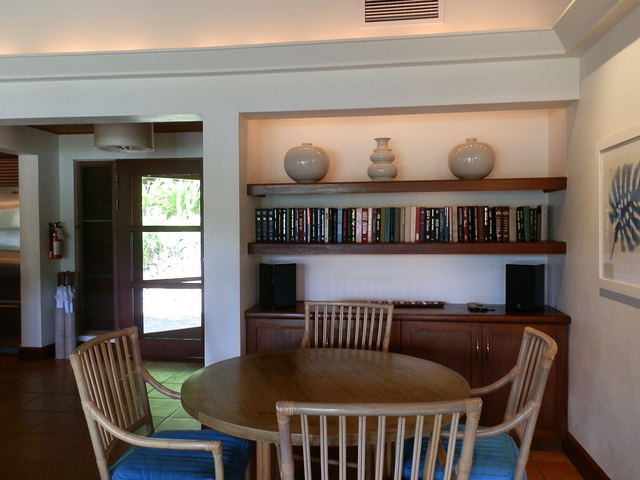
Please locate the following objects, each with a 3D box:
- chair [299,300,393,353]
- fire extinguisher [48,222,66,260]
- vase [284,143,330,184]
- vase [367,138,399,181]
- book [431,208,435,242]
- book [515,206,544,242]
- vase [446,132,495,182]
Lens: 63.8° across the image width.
[{"bbox_3d":[0.201,0.668,3.754,0.655,0.392,0.511,-1,8,5],"label":"chair"},{"bbox_3d":[-3.095,0.032,5.954,0.170,0.428,0.181,-3,9,-9],"label":"fire extinguisher"},{"bbox_3d":[-0.107,-0.617,4.239,0.333,0.291,0.321,0,0,14],"label":"vase"},{"bbox_3d":[0.505,-0.663,4.261,0.223,0.353,0.198,-3,9,-12],"label":"vase"},{"bbox_3d":[0.927,-0.116,4.226,0.026,0.267,0.025,0,9,13],"label":"book"},{"bbox_3d":[1.685,-0.111,4.312,0.251,0.351,0.258,1,1,5],"label":"book"},{"bbox_3d":[1.206,-0.628,4.096,0.374,0.344,0.372,0,0,4],"label":"vase"}]
